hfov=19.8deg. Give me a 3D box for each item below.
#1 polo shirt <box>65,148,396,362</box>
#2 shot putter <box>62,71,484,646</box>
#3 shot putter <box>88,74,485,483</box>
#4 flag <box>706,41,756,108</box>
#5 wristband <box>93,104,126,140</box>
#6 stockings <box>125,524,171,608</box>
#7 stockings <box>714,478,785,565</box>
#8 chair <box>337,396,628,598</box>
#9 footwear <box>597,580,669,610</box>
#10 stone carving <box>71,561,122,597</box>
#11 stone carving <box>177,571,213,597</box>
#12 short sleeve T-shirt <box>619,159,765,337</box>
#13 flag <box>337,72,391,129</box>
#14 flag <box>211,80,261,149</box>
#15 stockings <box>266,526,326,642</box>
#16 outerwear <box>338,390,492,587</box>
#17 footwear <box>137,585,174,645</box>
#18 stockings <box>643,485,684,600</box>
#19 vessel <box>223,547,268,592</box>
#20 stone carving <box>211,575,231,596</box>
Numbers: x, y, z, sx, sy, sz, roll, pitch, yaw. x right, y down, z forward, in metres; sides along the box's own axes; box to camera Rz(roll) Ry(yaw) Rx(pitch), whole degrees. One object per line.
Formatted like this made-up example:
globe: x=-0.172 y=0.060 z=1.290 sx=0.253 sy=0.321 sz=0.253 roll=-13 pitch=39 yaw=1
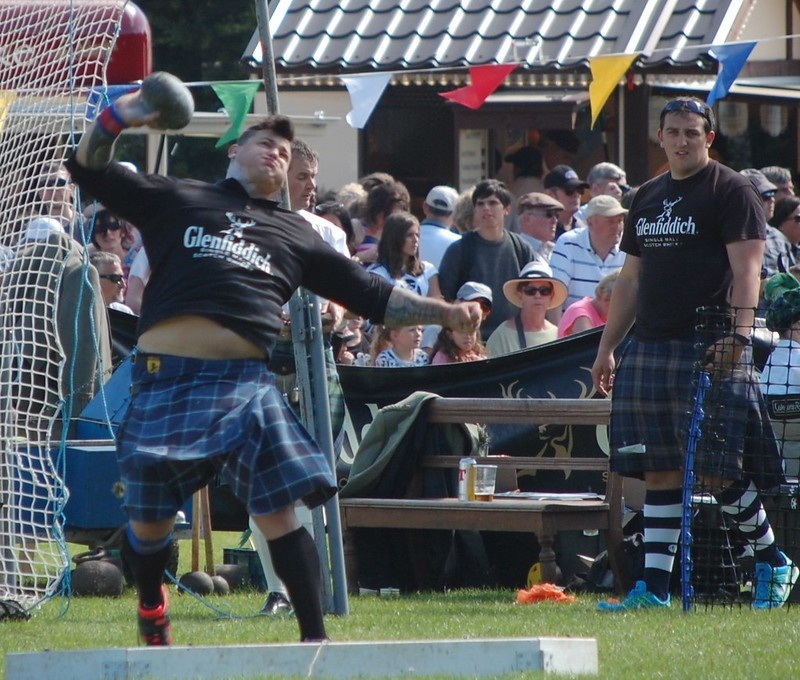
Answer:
polo shirt: x=-0.887 y=-0.383 z=11.643 sx=1.160 sy=0.585 sz=0.321 roll=20 pitch=-24 yaw=-16
shot putter: x=-0.689 y=0.202 z=11.962 sx=2.441 sy=3.369 sz=1.531 roll=9 pitch=-27 yaw=-28
shot putter: x=-0.658 y=-0.518 z=10.668 sx=1.816 sy=1.253 sz=0.912 roll=24 pitch=-27 yaw=-23
flag: x=2.019 y=-1.671 z=14.134 sx=0.154 sy=0.155 sz=0.469 roll=-17 pitch=-26 yaw=-28
wristband: x=-1.326 y=-0.982 z=10.467 sx=0.130 sy=0.140 sz=0.138 roll=-33 pitch=-12 yaw=-1
stockings: x=-1.161 y=1.044 z=10.559 sx=0.228 sy=0.433 sz=0.233 roll=0 pitch=-5 yaw=-14
stockings: x=1.770 y=0.922 z=11.714 sx=0.104 sy=0.459 sz=0.127 roll=-34 pitch=4 yaw=-43
chair: x=0.421 y=0.841 z=12.544 sx=1.528 sy=1.045 sz=0.671 roll=-3 pitch=-6 yaw=43
footwear: x=1.171 y=1.284 z=11.511 sx=0.411 sy=0.188 sz=0.144 roll=2 pitch=-9 yaw=-4
stone carving: x=-1.625 y=1.274 z=12.257 sx=0.196 sy=0.144 sz=0.198 roll=6 pitch=4 yaw=29
stone carving: x=-1.104 y=1.283 z=12.222 sx=0.131 sy=0.156 sz=0.131 roll=6 pitch=10 yaw=6
short sleeve T-shirt: x=1.474 y=-0.430 z=11.606 sx=0.404 sy=0.980 sz=0.973 roll=6 pitch=-3 yaw=-40
flag: x=-0.241 y=-1.517 z=14.601 sx=0.326 sy=0.348 sz=0.070 roll=-2 pitch=-9 yaw=2
flag: x=-1.011 y=-1.413 z=14.149 sx=0.330 sy=0.429 sz=0.087 roll=-6 pitch=38 yaw=-6
stockings: x=-0.453 y=1.161 z=10.380 sx=0.190 sy=0.576 sz=0.204 roll=-3 pitch=-37 yaw=-14
outerwear: x=-0.027 y=0.865 z=13.112 sx=0.959 sy=1.300 sz=0.985 roll=1 pitch=-4 yaw=5
footwear: x=-1.128 y=1.301 z=10.513 sx=0.104 sy=0.331 sz=0.144 roll=-5 pitch=9 yaw=-2
stockings: x=1.295 y=1.062 z=11.667 sx=0.224 sy=0.652 sz=0.156 roll=0 pitch=12 yaw=-21
vessel: x=-0.872 y=1.260 z=12.693 sx=0.166 sy=0.125 sz=0.267 roll=2 pitch=4 yaw=-33
stone carving: x=-0.967 y=1.318 z=12.347 sx=0.085 sy=0.105 sz=0.087 roll=-6 pitch=-1 yaw=24
